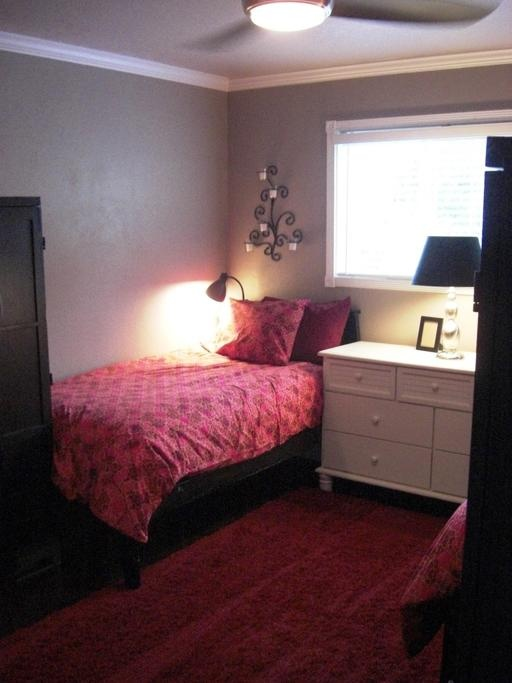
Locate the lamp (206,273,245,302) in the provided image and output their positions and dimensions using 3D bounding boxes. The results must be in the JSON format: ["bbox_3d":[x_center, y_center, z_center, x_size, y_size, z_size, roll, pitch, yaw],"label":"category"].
[{"bbox_3d":[-0.216,-0.395,3.940,0.226,0.216,0.554,2,5,4],"label":"lamp"}]

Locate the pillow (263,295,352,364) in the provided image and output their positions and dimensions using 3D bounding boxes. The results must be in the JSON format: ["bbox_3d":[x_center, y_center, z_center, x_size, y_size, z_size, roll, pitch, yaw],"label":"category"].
[{"bbox_3d":[0.413,-0.064,3.475,0.403,0.414,0.123,5,-9,28],"label":"pillow"}]

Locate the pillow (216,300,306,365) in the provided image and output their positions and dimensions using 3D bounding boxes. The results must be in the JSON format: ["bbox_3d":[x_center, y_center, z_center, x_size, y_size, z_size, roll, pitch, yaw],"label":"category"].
[{"bbox_3d":[0.053,-0.070,3.434,0.481,0.447,0.149,2,-17,38],"label":"pillow"}]

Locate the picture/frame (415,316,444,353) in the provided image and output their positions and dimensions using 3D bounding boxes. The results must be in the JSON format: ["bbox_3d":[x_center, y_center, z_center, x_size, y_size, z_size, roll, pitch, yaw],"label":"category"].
[{"bbox_3d":[1.053,-0.037,3.225,0.171,0.265,0.155,6,-4,40],"label":"picture/frame"}]

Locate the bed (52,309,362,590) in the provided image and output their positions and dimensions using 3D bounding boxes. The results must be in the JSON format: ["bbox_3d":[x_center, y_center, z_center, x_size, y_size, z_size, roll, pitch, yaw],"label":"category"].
[{"bbox_3d":[-0.355,0.374,3.122,0.914,0.974,1.574,2,6,34],"label":"bed"}]

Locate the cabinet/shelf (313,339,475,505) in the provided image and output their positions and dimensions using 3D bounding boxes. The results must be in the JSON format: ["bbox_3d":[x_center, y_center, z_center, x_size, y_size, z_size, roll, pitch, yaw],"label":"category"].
[{"bbox_3d":[0.851,0.458,3.169,0.901,0.818,0.565,5,13,19],"label":"cabinet/shelf"}]
